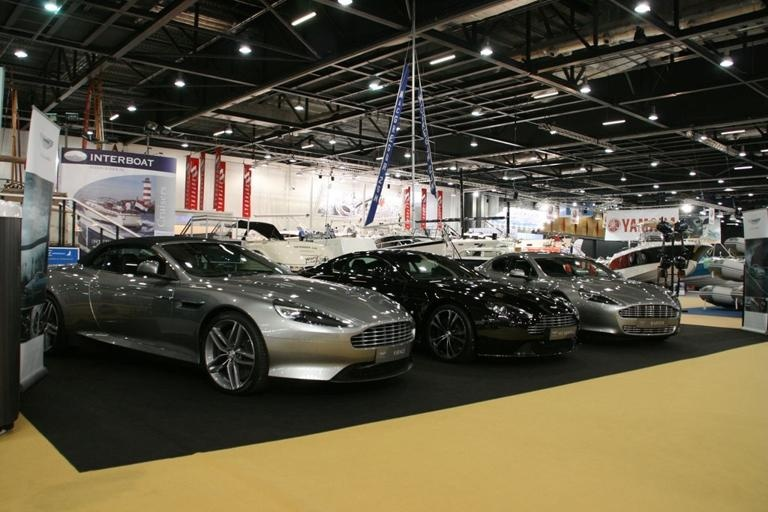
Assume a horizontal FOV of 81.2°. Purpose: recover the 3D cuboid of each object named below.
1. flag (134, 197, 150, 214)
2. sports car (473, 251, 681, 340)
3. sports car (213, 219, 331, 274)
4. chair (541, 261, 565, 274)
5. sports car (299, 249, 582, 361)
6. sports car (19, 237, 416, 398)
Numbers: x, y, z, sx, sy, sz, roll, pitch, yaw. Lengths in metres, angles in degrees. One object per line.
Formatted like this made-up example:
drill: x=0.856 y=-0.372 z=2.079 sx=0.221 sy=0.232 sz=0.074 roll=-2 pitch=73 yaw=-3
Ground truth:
flag: x=-8.741 y=-1.831 z=16.081 sx=0.524 sy=0.518 sz=0.169 roll=0 pitch=6 yaw=-26
sports car: x=3.269 y=0.604 z=8.060 sx=1.798 sy=0.768 sz=3.287 roll=3 pitch=-2 yaw=-35
sports car: x=-3.855 y=-0.286 z=12.800 sx=5.253 sy=1.374 sz=2.267 roll=2 pitch=3 yaw=32
chair: x=3.186 y=0.217 z=8.205 sx=0.461 sy=0.091 sz=0.238 roll=5 pitch=6 yaw=-12
sports car: x=0.621 y=0.610 z=6.603 sx=3.704 sy=0.848 sz=1.626 roll=0 pitch=-2 yaw=38
sports car: x=-2.059 y=0.530 z=5.187 sx=4.339 sy=0.966 sz=1.851 roll=1 pitch=-3 yaw=25
